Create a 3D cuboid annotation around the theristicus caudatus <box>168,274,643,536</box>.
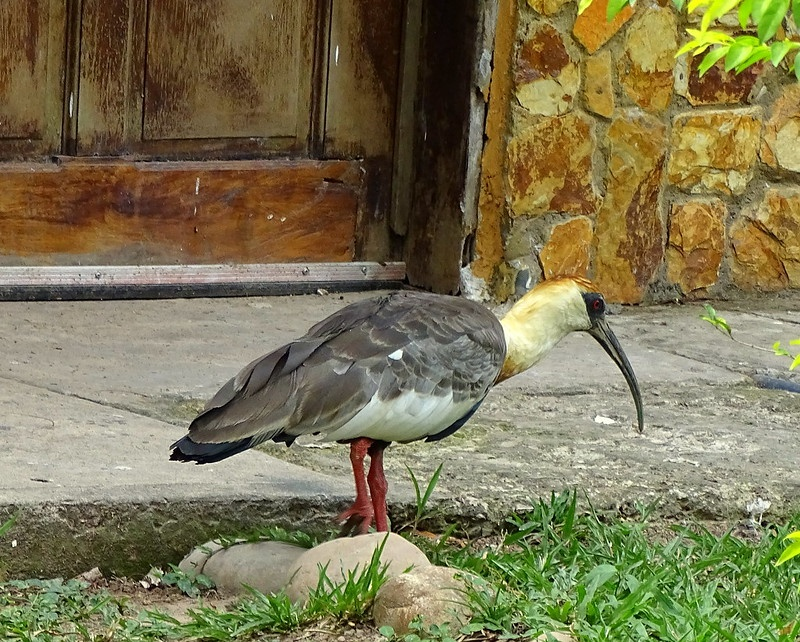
[{"bbox_3d":[0.047,0.225,4.448,1.524,0.940,0.408,9,13,-14],"label":"theristicus caudatus"}]
